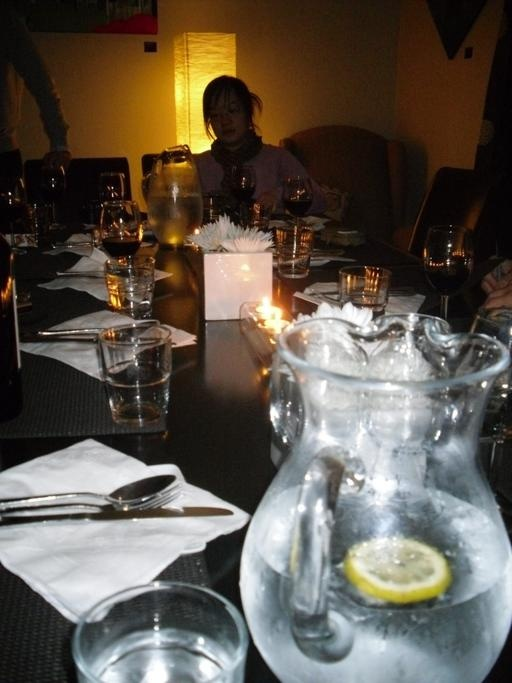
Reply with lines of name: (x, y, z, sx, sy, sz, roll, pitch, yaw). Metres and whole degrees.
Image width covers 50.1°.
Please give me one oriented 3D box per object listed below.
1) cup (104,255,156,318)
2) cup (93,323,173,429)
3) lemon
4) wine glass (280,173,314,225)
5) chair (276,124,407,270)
cup: (-0.223, -0.119, 1.111, 0.122, 0.140, 0.119, 1, 15, 0)
cup: (-0.143, 0.031, 0.682, 0.106, 0.128, 0.111, -1, 11, 0)
lemon: (0.064, 0.102, 0.243, 0.048, 0.013, 0.030, -6, 19, -16)
wine glass: (0.132, -0.471, 1.785, 0.128, 0.211, 0.128, -1, 8, -2)
chair: (0.759, -1.419, 4.345, 0.906, 0.979, 0.853, -34, 54, -26)
